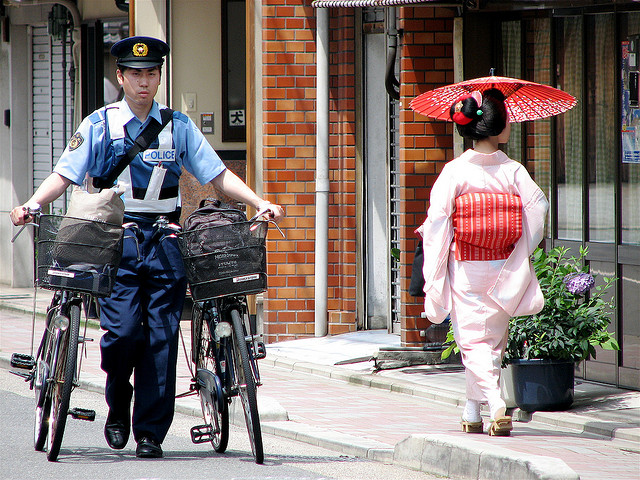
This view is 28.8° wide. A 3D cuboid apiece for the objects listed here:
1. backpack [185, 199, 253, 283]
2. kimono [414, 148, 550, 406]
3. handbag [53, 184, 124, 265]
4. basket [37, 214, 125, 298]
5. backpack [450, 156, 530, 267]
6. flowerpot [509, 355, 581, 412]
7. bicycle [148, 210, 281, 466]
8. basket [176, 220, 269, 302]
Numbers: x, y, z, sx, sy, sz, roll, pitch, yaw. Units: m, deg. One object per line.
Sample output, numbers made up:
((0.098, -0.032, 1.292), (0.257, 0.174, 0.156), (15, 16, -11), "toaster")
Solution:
((-0.780, 0.051, 9.298), (0.462, 0.586, 0.576), (-11, -20, -14), "backpack")
((1.277, 0.157, 9.933), (1.037, 2.292, 1.296), (0, 4, -5), "kimono")
((-1.666, -0.091, 9.083), (0.460, 0.569, 0.304), (11, -27, 11), "handbag")
((-1.740, 0.118, 9.028), (0.605, 0.579, 0.155), (0, 1, 7), "basket")
((1.446, -0.148, 9.885), (0.923, 0.314, 0.691), (11, 35, 12), "backpack")
((1.898, 1.271, 10.755), (0.734, 0.452, 0.634), (3, 9, -10), "flowerpot")
((-0.752, 0.729, 9.303), (0.793, 1.896, 0.563), (1, 2, 38), "bicycle")
((-0.701, 0.091, 9.262), (0.536, 0.621, 0.713), (-4, 13, -32), "basket")
